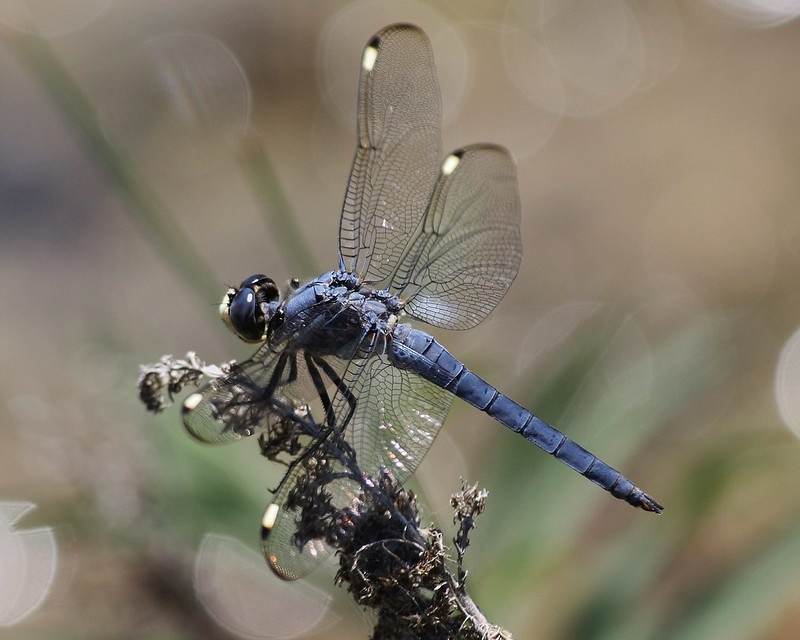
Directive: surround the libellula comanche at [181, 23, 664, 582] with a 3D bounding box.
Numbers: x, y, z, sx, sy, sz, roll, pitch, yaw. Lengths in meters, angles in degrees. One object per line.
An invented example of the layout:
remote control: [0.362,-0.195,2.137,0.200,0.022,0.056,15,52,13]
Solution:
libellula comanche: [0.100,-0.235,4.794,1.775,2.545,1.217,14,13,6]
